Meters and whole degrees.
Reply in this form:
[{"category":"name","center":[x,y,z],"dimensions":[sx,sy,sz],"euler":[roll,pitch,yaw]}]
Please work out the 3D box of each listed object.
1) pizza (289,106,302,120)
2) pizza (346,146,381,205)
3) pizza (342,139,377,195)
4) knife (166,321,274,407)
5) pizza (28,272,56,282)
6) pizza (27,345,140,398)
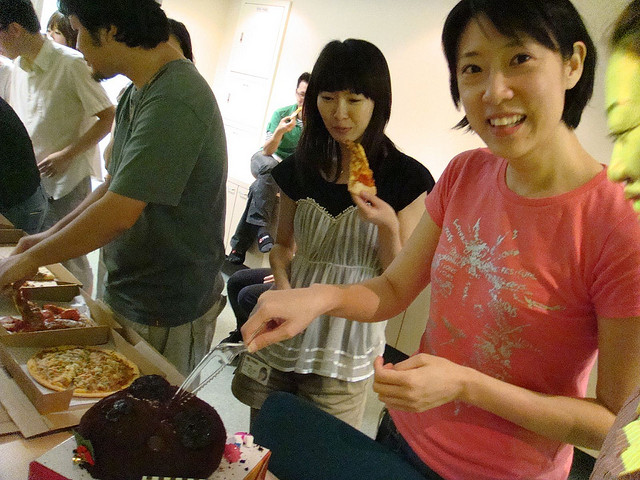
[{"category":"pizza","center":[-0.239,-1.218,4.722],"dimensions":[0.101,0.138,0.302],"euler":[3,4,-5]},{"category":"pizza","center":[0.145,-0.255,1.734],"dimensions":[0.103,0.270,0.033],"euler":[-5,-32,5]},{"category":"pizza","center":[0.134,-0.259,1.723],"dimensions":[0.107,0.200,0.166],"euler":[3,4,-4]},{"category":"knife","center":[-0.243,0.290,1.167],"dimensions":[0.027,0.049,0.379],"euler":[-36,-1,38]},{"category":"pizza","center":[-1.105,0.147,1.946],"dimensions":[0.067,0.026,0.100],"euler":[3,4,-18]},{"category":"pizza","center":[-0.692,0.377,1.429],"dimensions":[0.179,0.021,0.192],"euler":[3,18,-29]}]
